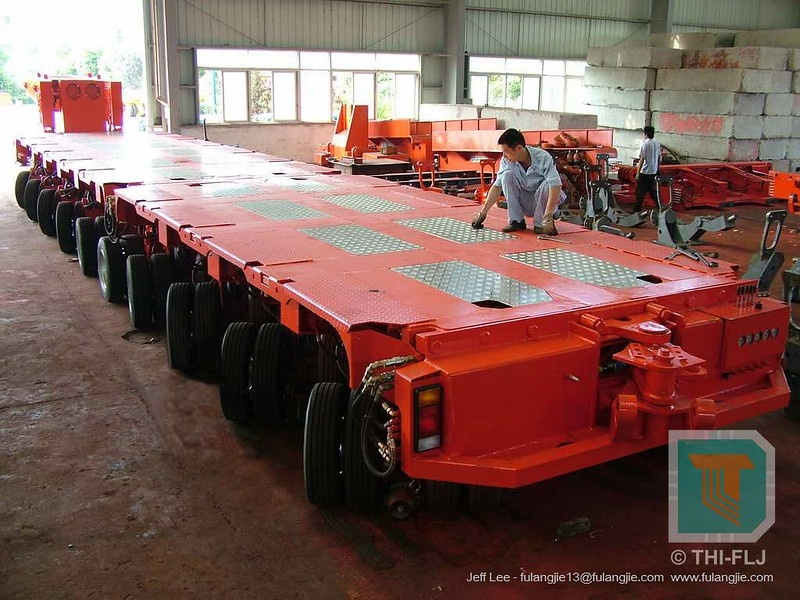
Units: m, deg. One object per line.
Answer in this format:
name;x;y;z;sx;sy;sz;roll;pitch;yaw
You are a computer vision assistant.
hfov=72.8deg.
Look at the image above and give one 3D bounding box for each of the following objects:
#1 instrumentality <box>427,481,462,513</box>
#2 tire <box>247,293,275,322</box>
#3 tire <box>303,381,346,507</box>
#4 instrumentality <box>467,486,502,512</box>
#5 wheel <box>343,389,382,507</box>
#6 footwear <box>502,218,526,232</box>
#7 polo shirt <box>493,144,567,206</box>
instrumentality;0.272;1.148;3.242;0.249;0.241;0.134;-2;14;-9
tire;-1.238;0.068;4.912;0.275;0.264;0.269;3;3;3
tire;-0.430;0.838;3.209;0.356;0.605;0.425;-1;19;-10
instrumentality;0.494;1.173;3.230;0.180;0.192;0.050;-2;17;-5
wheel;-0.236;0.895;2.989;0.229;0.813;0.348;2;14;9
footwear;1.074;-0.679;5.017;0.255;0.164;0.084;-3;14;-18
polo shirt;1.231;-1.176;5.126;0.508;0.499;0.446;14;17;29
